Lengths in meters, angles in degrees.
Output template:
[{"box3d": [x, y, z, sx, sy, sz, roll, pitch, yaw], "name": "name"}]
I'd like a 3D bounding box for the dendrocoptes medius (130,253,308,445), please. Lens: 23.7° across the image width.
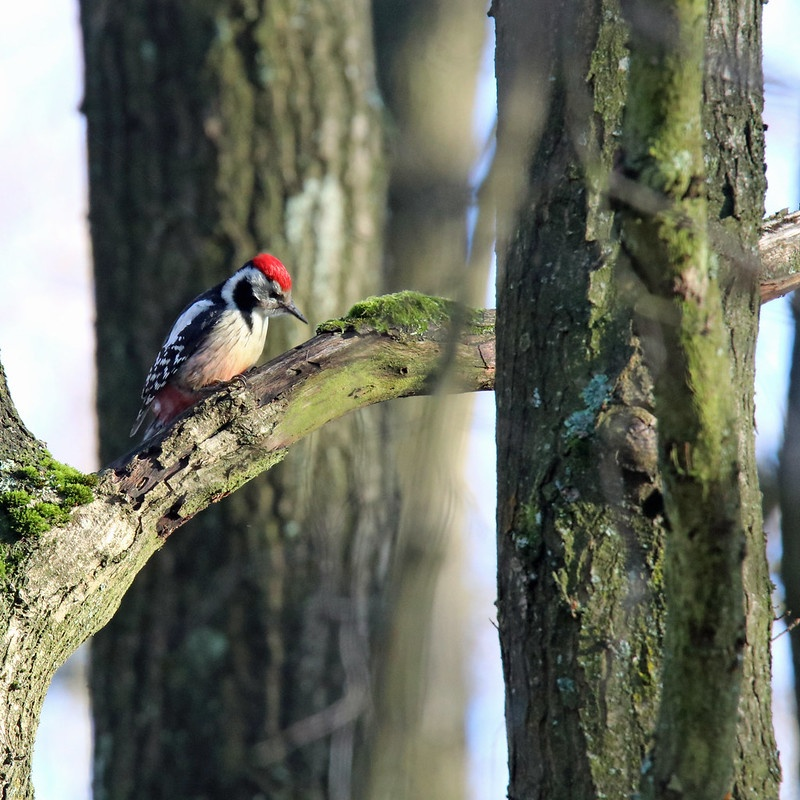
[{"box3d": [-0.936, -0.233, 8.847, 0.854, 0.421, 1.110, 18, -74, 29], "name": "dendrocoptes medius"}]
